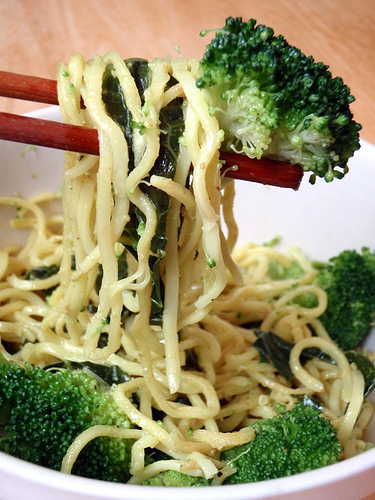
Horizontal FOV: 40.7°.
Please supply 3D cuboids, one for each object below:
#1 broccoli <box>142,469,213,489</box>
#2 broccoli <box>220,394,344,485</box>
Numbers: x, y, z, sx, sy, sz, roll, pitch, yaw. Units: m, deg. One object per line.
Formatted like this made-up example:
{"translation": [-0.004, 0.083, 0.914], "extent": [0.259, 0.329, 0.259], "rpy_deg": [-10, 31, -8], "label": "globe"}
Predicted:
{"translation": [-0.019, 0.534, 1.178], "extent": [0.117, 0.132, 0.035], "rpy_deg": [41, 39, -37], "label": "broccoli"}
{"translation": [0.238, 0.481, 1.239], "extent": [0.242, 0.085, 0.215], "rpy_deg": [-7, 41, 7], "label": "broccoli"}
